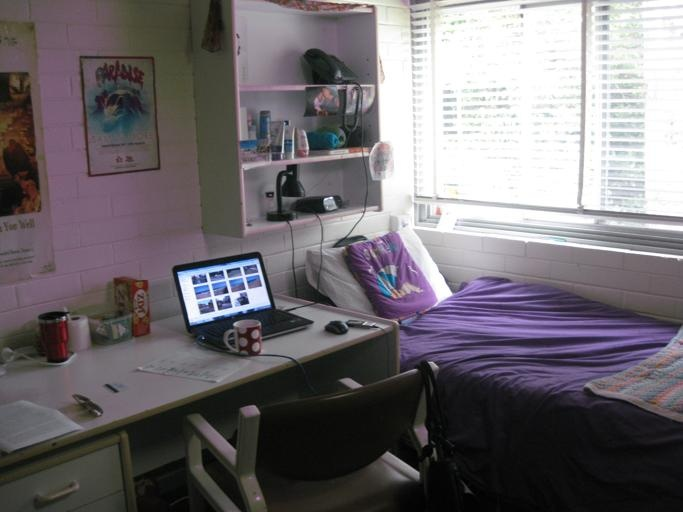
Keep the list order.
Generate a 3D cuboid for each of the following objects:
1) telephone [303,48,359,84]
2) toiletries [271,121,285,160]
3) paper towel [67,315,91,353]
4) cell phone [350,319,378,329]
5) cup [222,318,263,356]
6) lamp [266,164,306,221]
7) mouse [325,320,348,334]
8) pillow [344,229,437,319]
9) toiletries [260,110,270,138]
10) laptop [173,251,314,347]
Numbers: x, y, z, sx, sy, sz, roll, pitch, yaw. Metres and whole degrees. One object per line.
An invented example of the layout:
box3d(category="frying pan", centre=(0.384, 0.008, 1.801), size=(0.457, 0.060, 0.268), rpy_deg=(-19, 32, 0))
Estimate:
box3d(category="telephone", centre=(-0.096, -1.090, 3.054), size=(0.336, 0.129, 0.328), rpy_deg=(-9, 38, -25))
box3d(category="toiletries", centre=(-0.325, -0.600, 2.743), size=(0.083, 0.195, 0.172), rpy_deg=(-5, 14, -6))
box3d(category="paper towel", centre=(-1.093, 0.322, 2.203), size=(0.113, 0.123, 0.109), rpy_deg=(-6, 6, -25))
box3d(category="cell phone", centre=(0.098, 0.302, 2.370), size=(0.086, 0.017, 0.046), rpy_deg=(6, 13, 18))
box3d(category="cup", centre=(-0.397, 0.336, 2.104), size=(0.162, 0.117, 0.100), rpy_deg=(-4, 0, -41))
box3d(category="lamp", centre=(-0.310, -0.371, 2.972), size=(0.224, 0.333, 0.172), rpy_deg=(-3, 7, -33))
box3d(category="mouse", centre=(-0.016, 0.307, 2.301), size=(0.077, 0.026, 0.057), rpy_deg=(1, 8, 11))
box3d(category="pillow", centre=(0.243, 0.168, 3.294), size=(0.508, 0.505, 0.166), rpy_deg=(-19, -17, -47))
box3d(category="toiletries", centre=(-0.398, -0.695, 2.787), size=(0.062, 0.131, 0.046), rpy_deg=(-7, 15, -13))
box3d(category="laptop", centre=(-0.408, 0.179, 2.363), size=(0.422, 0.276, 0.486), rpy_deg=(10, 15, 38))
